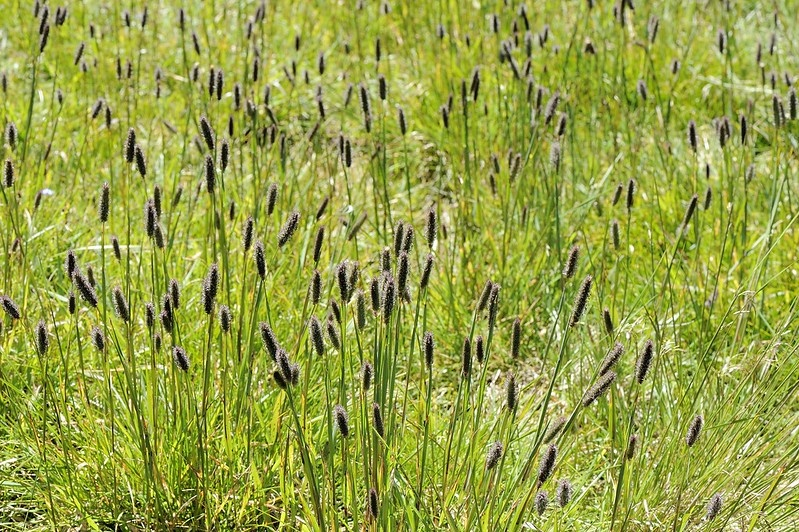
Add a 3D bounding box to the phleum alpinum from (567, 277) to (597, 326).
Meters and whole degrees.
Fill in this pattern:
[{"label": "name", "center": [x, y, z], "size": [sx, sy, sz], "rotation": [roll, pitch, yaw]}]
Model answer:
[{"label": "phleum alpinum", "center": [0.719, 0.134, 4.320], "size": [0.060, 0.238, 0.056], "rotation": [23, 13, 30]}]
